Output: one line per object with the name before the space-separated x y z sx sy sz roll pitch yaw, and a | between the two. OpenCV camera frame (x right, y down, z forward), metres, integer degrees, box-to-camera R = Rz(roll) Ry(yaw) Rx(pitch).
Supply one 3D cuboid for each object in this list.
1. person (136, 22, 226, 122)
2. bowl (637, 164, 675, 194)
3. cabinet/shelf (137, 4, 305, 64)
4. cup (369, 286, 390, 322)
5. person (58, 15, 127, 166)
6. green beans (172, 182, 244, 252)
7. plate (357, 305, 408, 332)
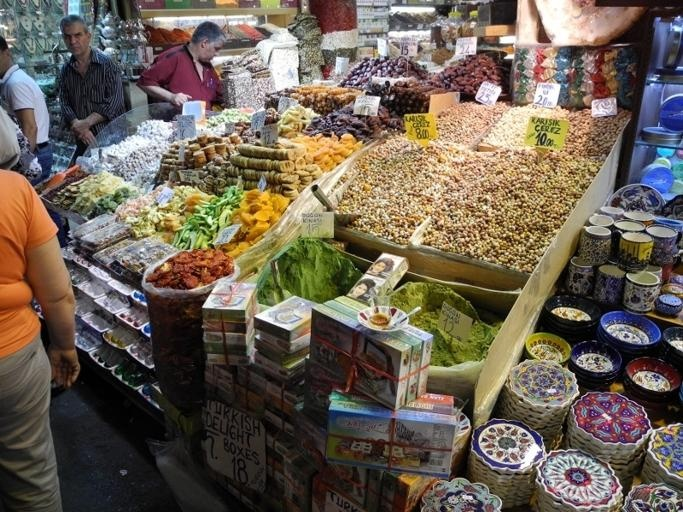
person | -1.718 -2.032 5.151 0.884 0.871 0.457 -20 31 -32
bowl | 2.041 -0.501 3.083 0.199 0.190 0.121 3 18 28
cabinet/shelf | -1.628 -2.901 6.204 1.784 0.575 0.532 -30 46 -34
cup | 0.150 0.207 1.899 0.066 0.100 0.070 -5 27 3
person | -2.808 -1.895 5.143 0.722 1.282 0.449 -9 26 -12
green beans | -0.855 -0.218 3.031 0.312 0.134 0.495 28 74 36
plate | 0.150 0.240 1.767 0.182 0.057 0.126 4 26 14
